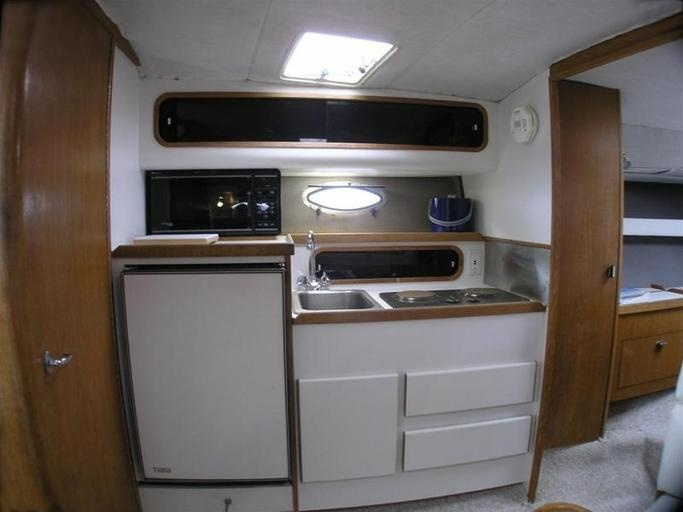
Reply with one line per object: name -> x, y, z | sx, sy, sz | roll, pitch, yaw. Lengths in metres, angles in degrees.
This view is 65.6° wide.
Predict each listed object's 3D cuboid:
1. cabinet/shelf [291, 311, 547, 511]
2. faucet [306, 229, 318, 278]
cabinet/shelf -> 0.402, 0.775, 3.331 | 1.765, 1.314, 0.983 | -2, 1, -9
faucet -> -0.200, -0.016, 3.428 | 0.062, 0.293, 0.136 | 0, 6, -3
